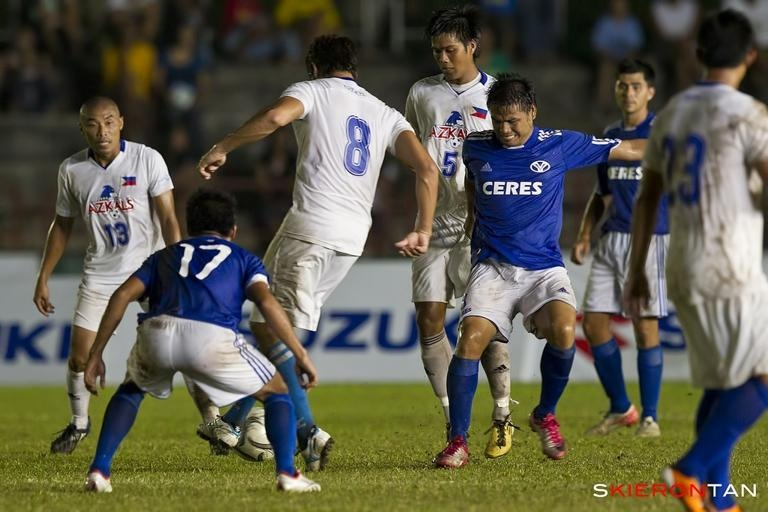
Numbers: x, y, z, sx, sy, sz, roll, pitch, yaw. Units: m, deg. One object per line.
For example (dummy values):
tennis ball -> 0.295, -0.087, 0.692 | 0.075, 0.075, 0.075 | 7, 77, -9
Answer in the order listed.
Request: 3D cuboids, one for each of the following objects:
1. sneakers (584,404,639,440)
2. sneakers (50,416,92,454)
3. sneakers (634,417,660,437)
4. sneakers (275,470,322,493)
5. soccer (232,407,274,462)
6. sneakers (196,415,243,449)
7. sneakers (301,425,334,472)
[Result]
sneakers -> 2.119, 1.505, 11.546 | 0.561, 0.239, 0.208 | -24, 9, 2
sneakers -> -2.792, 1.617, 11.033 | 0.160, 0.229, 0.448 | 25, 36, 18
sneakers -> 2.404, 1.559, 11.382 | 0.141, 0.144, 0.323 | -1, -6, 8
sneakers -> -0.648, 1.706, 9.412 | 0.322, 0.146, 0.131 | 2, 19, -23
soccer -> -1.068, 1.478, 10.283 | 0.448, 0.485, 0.325 | -3, -11, 15
sneakers -> -1.393, 1.419, 10.381 | 0.438, 0.185, 0.219 | 17, 9, 35
sneakers -> -0.541, 1.564, 10.080 | 0.215, 0.475, 0.169 | 13, 30, 5
